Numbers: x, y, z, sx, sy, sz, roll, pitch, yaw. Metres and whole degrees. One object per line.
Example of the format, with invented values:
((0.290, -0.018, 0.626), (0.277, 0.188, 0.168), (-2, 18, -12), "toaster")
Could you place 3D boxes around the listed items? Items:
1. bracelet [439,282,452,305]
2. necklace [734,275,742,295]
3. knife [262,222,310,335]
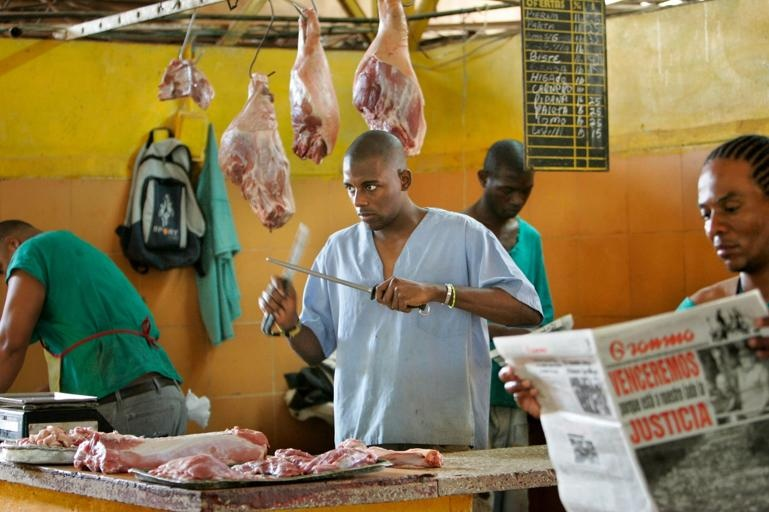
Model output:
((0.300, 0.183, 4.180), (0.047, 0.095, 0.045), (-3, -4, 1), "bracelet")
((1.546, 0.124, 3.803), (0.029, 0.085, 0.060), (5, -1, -10), "necklace")
((-0.506, 0.178, 4.303), (0.086, 0.149, 0.807), (-25, -32, -38), "knife")
